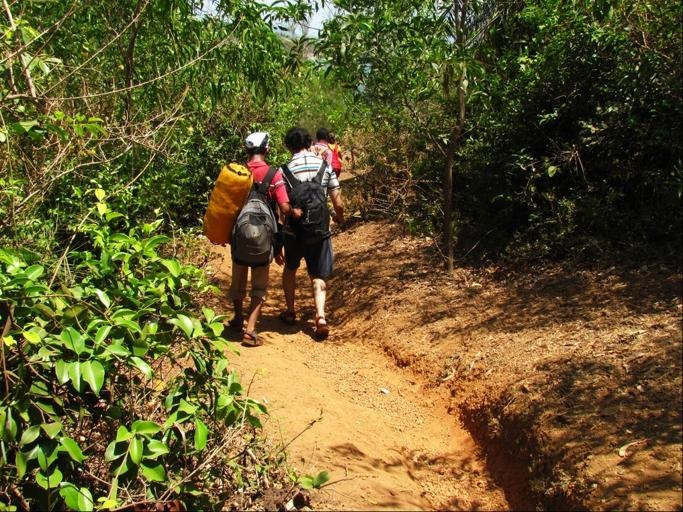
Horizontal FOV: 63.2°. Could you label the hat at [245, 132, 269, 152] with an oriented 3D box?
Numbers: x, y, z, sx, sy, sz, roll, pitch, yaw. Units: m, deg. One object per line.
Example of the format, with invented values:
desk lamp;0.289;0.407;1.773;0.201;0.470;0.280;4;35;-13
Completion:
hat;-0.946;-1.256;6.118;0.261;0.186;0.138;13;4;36
